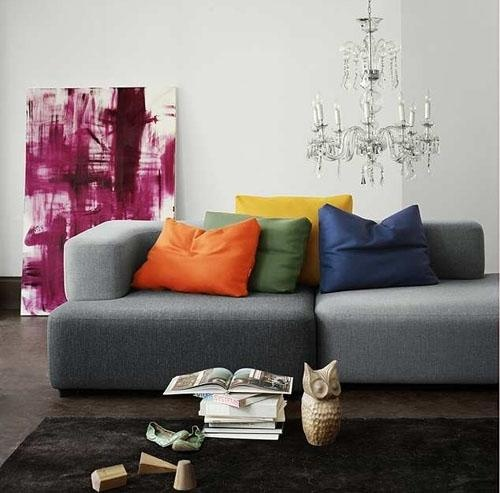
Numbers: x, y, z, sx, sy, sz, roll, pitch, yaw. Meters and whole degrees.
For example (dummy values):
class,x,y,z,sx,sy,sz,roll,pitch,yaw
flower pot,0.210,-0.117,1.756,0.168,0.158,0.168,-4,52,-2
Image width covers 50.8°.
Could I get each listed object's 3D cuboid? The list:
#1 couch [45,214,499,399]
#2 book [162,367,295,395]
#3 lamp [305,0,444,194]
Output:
class,x,y,z,sx,sy,sz,roll,pitch,yaw
couch,0.158,0.266,2.511,2.042,0.686,0.670,0,5,2
book,-0.058,0.398,1.576,0.363,0.048,0.227,-1,4,1
lamp,0.854,-1.156,3.519,0.875,1.489,1.448,0,5,11
